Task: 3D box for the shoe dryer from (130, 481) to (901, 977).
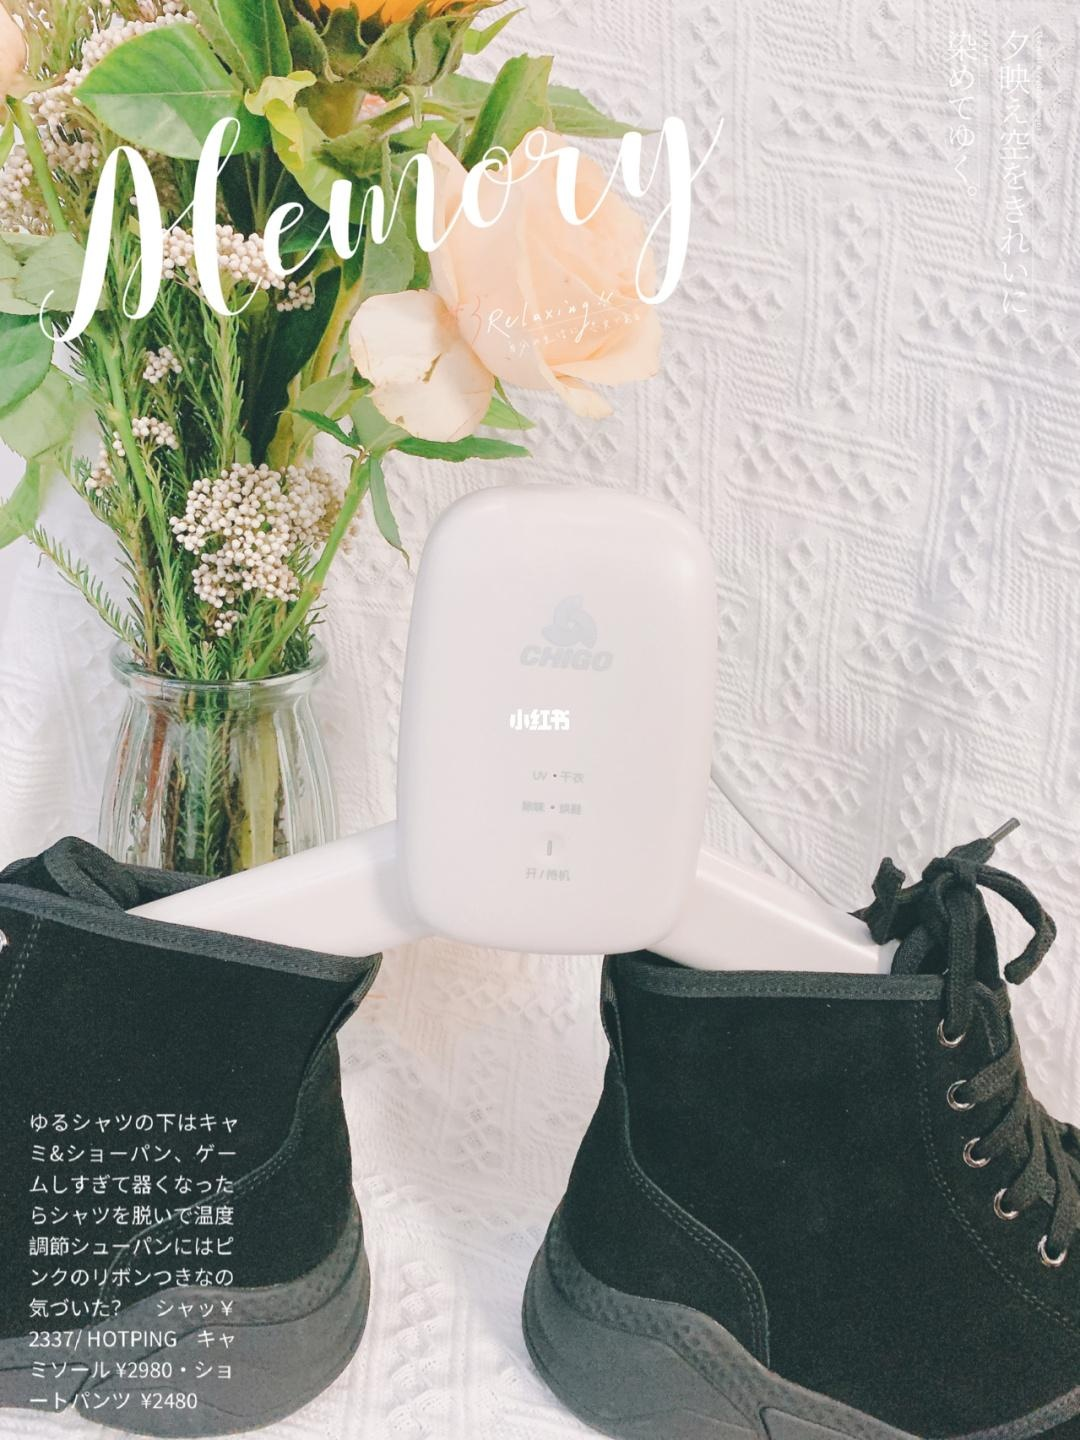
[{"bbox_3d":[-0.005,0.000,0.572,0.284,0.058,0.133,2,96,3],"label":"shoe dryer"}]
